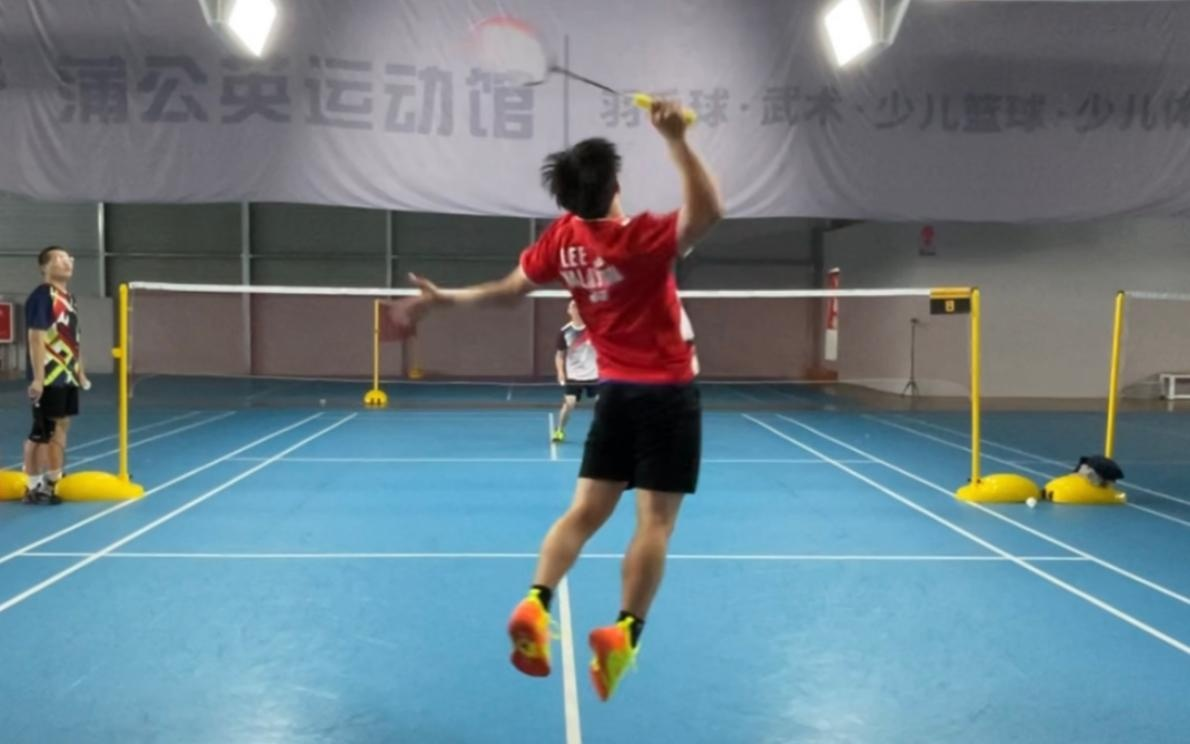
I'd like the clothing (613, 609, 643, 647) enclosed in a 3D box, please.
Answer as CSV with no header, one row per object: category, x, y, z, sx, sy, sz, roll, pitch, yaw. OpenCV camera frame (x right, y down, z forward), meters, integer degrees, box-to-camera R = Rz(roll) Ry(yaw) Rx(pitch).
clothing,0.200,1.473,5.044,0.165,0.183,0.188,2,-4,3

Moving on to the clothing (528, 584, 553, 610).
clothing,-0.313,1.271,4.967,0.123,0.139,0.140,2,2,-10

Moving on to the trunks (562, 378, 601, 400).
trunks,-0.180,0.300,10.568,0.493,0.372,0.272,2,21,1

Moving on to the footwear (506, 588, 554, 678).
footwear,-0.354,1.476,4.982,0.242,0.454,0.206,-12,-9,20

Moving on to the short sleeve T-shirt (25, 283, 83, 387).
short sleeve T-shirt,-4.781,-0.320,7.785,0.276,0.918,0.448,4,8,41

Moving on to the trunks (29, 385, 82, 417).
trunks,-4.795,0.256,7.818,0.423,0.410,0.251,3,3,29

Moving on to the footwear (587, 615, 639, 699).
footwear,0.089,1.600,4.952,0.218,0.452,0.242,22,4,-39

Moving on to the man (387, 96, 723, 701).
man,0.005,0.187,5.072,1.368,3.346,0.674,-2,6,-12

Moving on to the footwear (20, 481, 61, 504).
footwear,-4.850,1.071,7.744,0.297,0.135,0.180,3,-3,-15

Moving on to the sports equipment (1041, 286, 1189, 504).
sports equipment,6.977,-0.101,11.353,1.072,1.919,9.002,3,6,34

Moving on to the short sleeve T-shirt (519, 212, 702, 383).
short sleeve T-shirt,0.161,-0.425,5.013,1.266,0.921,0.469,21,30,26
